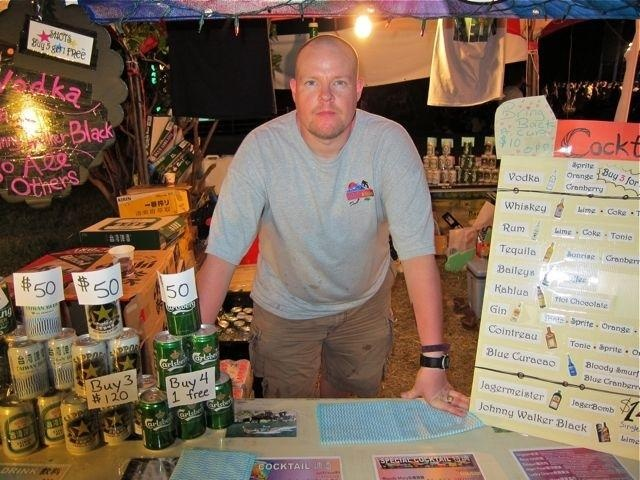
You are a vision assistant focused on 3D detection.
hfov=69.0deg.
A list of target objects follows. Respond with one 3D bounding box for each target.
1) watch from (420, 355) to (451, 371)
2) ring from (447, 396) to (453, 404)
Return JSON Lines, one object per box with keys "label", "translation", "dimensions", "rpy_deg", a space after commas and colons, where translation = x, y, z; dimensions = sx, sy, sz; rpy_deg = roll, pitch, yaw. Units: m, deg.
{"label": "watch", "translation": [0.441, 0.465, 1.807], "dimensions": [0.077, 0.042, 0.081], "rpy_deg": [3, -4, -3]}
{"label": "ring", "translation": [0.481, 0.596, 1.738], "dimensions": [0.014, 0.007, 0.019], "rpy_deg": [-16, 18, 35]}
